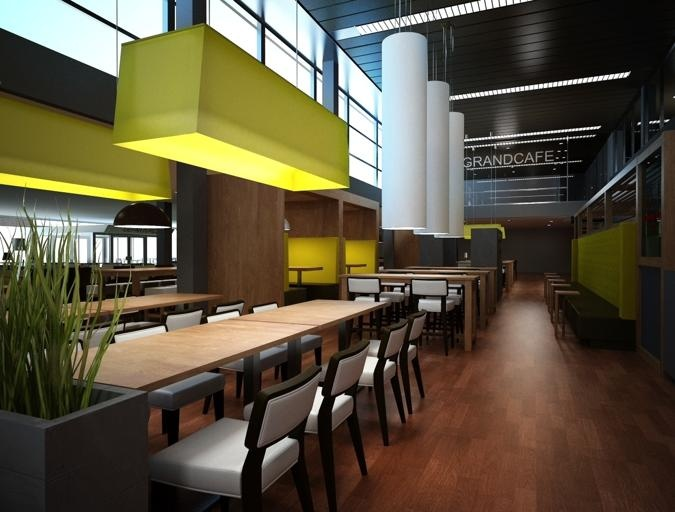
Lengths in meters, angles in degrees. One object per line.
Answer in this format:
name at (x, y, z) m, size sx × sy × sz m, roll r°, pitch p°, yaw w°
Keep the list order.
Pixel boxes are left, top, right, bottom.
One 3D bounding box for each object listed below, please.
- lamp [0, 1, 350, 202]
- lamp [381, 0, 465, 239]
lamp at (-0.608, -0.838, 2.950) m, size 0.572 × 0.839 × 1.410 m, roll -3°, pitch 1°, yaw 36°
lamp at (0.952, -1.709, 5.269) m, size 0.755 × 2.100 × 2.577 m, roll -3°, pitch 0°, yaw 16°
